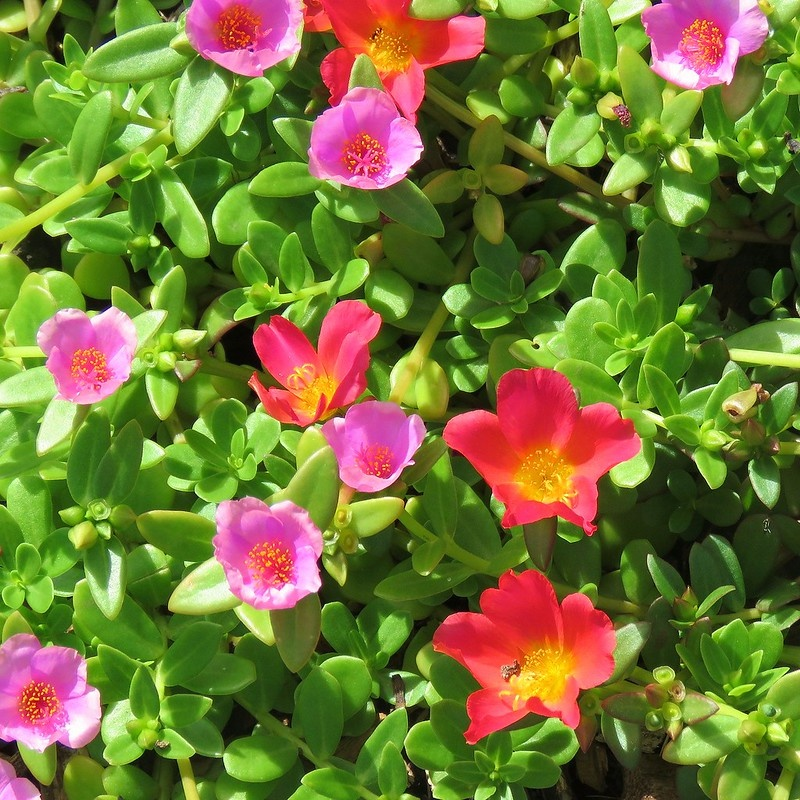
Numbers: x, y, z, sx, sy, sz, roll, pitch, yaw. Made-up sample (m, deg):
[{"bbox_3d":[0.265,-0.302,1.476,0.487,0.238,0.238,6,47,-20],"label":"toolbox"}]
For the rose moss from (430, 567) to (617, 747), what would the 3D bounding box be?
[{"bbox_3d":[0.244,0.414,1.533,0.298,0.158,0.326,-43,60,20],"label":"rose moss"}]

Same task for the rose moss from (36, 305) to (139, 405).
[{"bbox_3d":[-0.583,-0.082,1.584,0.180,0.090,0.177,-21,84,-30],"label":"rose moss"}]
